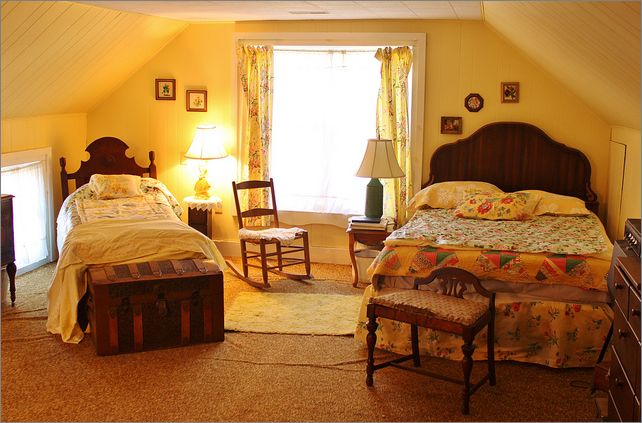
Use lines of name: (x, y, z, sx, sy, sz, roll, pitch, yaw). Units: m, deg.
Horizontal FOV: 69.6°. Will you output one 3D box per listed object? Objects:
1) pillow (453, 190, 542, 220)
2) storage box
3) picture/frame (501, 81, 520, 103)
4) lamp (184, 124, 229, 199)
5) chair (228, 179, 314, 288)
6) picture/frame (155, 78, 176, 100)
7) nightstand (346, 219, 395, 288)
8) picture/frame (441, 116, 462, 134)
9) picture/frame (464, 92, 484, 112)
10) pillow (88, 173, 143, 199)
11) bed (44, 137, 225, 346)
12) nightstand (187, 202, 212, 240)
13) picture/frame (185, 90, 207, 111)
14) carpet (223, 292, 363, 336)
pillow: (1.787, -0.063, 4.813, 0.700, 0.218, 0.502, 5, 33, 28)
storage box: (-1.410, 0.771, 4.085, 1.022, 0.672, 0.655, -1, 16, -18)
picture/frame: (2.156, -1.367, 5.254, 0.228, 0.295, 0.029, 0, 3, 7)
lamp: (-1.471, -0.613, 5.789, 0.537, 0.901, 0.521, -5, 15, -37)
chair: (-0.625, 0.236, 5.420, 0.779, 1.201, 1.071, -5, 10, -26)
picture/frame: (-1.972, -1.573, 5.887, 0.248, 0.266, 0.025, 0, 4, -2)
nightstand: (0.545, 0.494, 5.316, 0.546, 0.660, 0.569, 0, 7, -7)
picture/frame: (1.519, -1.019, 5.377, 0.192, 0.185, 0.020, 1, 4, 7)
picture/frame: (1.767, -1.270, 5.326, 0.202, 0.217, 0.029, 0, 7, 10)
pillow: (-2.392, -0.300, 5.381, 0.552, 0.253, 0.343, -5, 10, -26)
bed: (-2.155, 0.382, 5.340, 1.255, 1.593, 2.341, -14, 41, -29)
nightstand: (-1.514, 0.129, 5.782, 0.289, 0.467, 0.360, -2, 9, -15)
picture/frame: (-1.572, -1.420, 5.846, 0.252, 0.271, 0.027, 1, 4, 1)
carpet: (-0.285, 0.984, 4.521, 1.317, 0.095, 0.836, 1, 10, 4)
